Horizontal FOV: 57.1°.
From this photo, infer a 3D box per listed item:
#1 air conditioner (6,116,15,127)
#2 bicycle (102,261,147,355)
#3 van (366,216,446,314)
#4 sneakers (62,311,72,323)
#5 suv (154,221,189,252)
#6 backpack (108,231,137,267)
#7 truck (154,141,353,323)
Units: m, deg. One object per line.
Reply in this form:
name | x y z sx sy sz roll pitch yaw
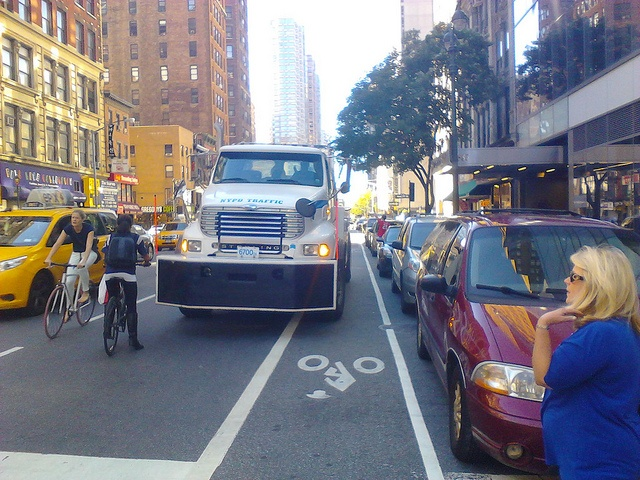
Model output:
air conditioner | -17.781 -6.720 33.647 0.384 0.577 0.562 -5 -1 17
bicycle | -2.932 1.079 8.359 0.517 0.734 1.117 0 5 -4
van | 1.786 0.466 11.817 1.115 1.063 2.050 1 1 2
sneakers | -4.220 1.305 9.816 0.081 0.163 0.276 0 5 -4
suv | -8.143 0.154 31.440 1.186 1.279 2.820 -2 -12 -15
backpack | -2.972 0.060 8.796 0.472 0.712 0.395 1 44 -23
truck | -0.940 -0.162 11.275 2.006 2.188 4.249 0 -1 4
